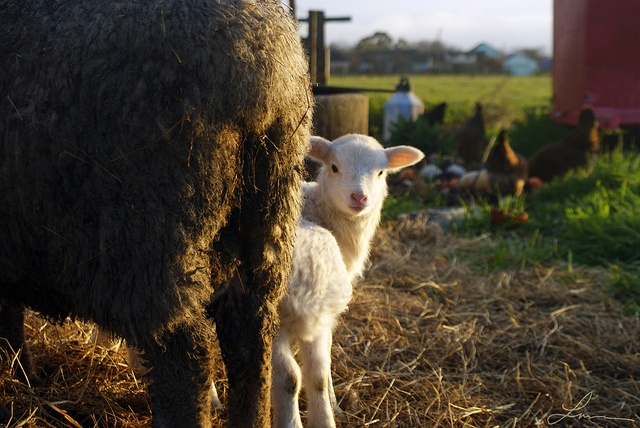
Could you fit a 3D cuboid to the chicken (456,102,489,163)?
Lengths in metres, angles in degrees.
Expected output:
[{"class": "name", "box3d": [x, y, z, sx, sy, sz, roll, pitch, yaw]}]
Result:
[{"class": "chicken", "box3d": [2.025, -1.074, 10.165, 0.289, 0.770, 0.336, 6, -11, -23]}]

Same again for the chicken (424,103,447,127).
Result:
[{"class": "chicken", "box3d": [1.699, -1.463, 11.014, 0.189, 0.377, 0.561, -4, 15, -16]}]

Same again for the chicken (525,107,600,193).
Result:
[{"class": "chicken", "box3d": [3.073, -0.867, 9.560, 0.823, 0.920, 0.452, 2, 14, 9]}]

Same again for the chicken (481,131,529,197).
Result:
[{"class": "chicken", "box3d": [2.194, -0.586, 9.135, 0.549, 0.976, 0.467, -7, 6, -30]}]
